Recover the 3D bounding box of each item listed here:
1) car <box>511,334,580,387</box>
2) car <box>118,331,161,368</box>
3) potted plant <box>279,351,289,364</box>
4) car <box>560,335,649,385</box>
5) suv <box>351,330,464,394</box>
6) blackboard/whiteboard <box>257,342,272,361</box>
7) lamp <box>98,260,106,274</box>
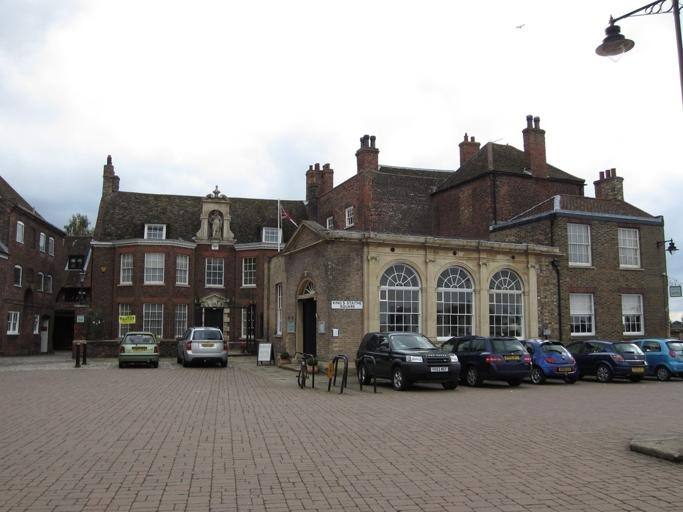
[{"bbox_3d":[7.463,3.756,21.017,1.278,0.993,2.131,0,-2,-12],"label":"car"},{"bbox_3d":[-9.820,4.468,27.977,1.437,1.161,2.502,0,0,-17],"label":"car"},{"bbox_3d":[-2.694,4.862,27.270,0.513,0.487,0.497,2,-11,-1],"label":"potted plant"},{"bbox_3d":[10.014,3.917,22.199,1.737,1.128,2.898,2,-2,-21],"label":"car"},{"bbox_3d":[2.040,3.389,18.739,1.568,1.931,3.102,9,-16,-37],"label":"suv"},{"bbox_3d":[-3.785,4.733,28.325,0.651,0.803,0.510,2,-13,-10],"label":"blackboard/whiteboard"},{"bbox_3d":[-17.124,0.757,41.209,0.505,0.824,0.224,5,-14,-24],"label":"lamp"}]
